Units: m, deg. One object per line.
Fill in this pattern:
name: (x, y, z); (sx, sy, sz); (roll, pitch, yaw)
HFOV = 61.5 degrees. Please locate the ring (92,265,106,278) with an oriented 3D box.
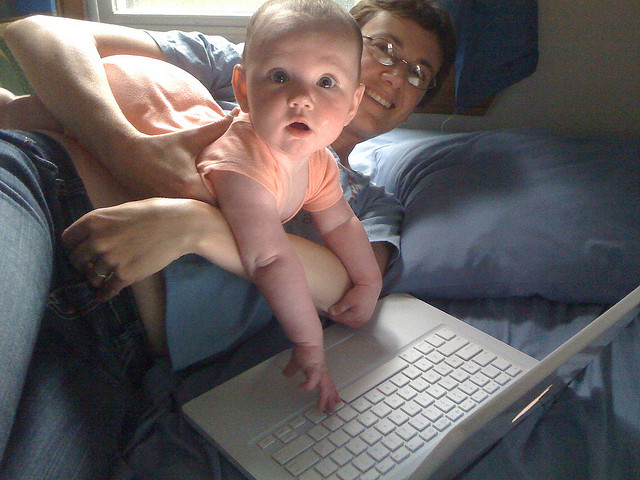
ring: (-0.330, 0.046, 0.804); (0.013, 0.018, 0.016); (-23, 62, 41)
